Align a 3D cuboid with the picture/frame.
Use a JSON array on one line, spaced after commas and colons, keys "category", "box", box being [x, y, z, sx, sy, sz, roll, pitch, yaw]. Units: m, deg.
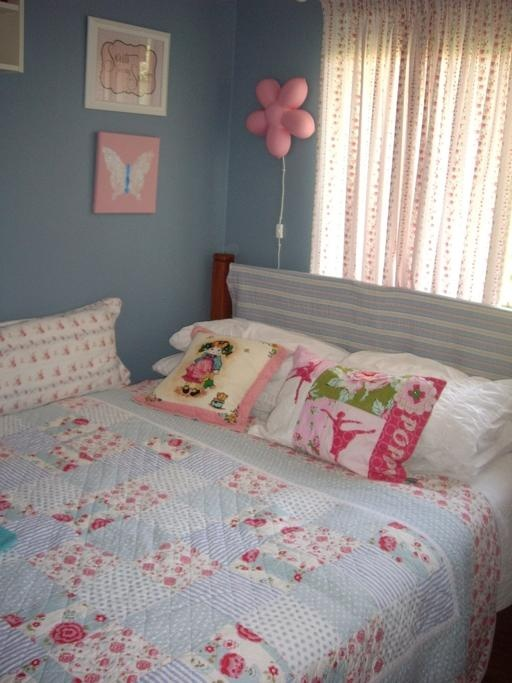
[{"category": "picture/frame", "box": [-0.570, -1.236, 2.361, 0.047, 0.414, 0.440, 11, 12, 40]}]
